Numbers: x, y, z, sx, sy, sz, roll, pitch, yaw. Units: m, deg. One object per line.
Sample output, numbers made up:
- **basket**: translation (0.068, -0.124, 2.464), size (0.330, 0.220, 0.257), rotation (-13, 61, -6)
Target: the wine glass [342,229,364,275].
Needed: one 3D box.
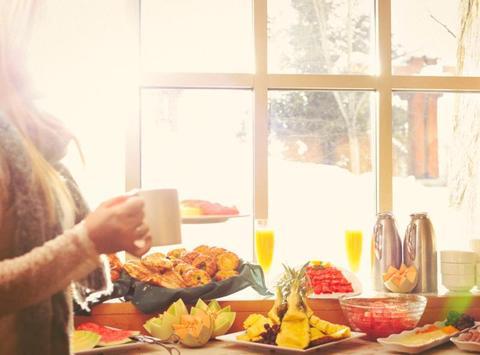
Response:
- **wine glass**: translation (0.528, 0.343, 2.038), size (0.078, 0.216, 0.078), rotation (1, 7, 13)

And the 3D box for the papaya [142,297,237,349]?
- **papaya**: translation (-0.188, 0.465, 1.551), size (0.275, 0.146, 0.297), rotation (0, -2, -17)

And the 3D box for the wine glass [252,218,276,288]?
- **wine glass**: translation (0.105, 0.305, 1.953), size (0.064, 0.231, 0.096), rotation (2, 1, -5)

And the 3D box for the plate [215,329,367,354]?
- **plate**: translation (0.179, 0.539, 1.431), size (0.512, 0.050, 0.205), rotation (1, -1, -3)

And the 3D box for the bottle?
- **bottle**: translation (0.647, 0.295, 1.771), size (0.161, 0.349, 0.207), rotation (0, 2, -12)

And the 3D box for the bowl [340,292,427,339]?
- **bowl**: translation (0.497, 0.450, 1.555), size (0.271, 0.161, 0.243), rotation (0, -5, 0)

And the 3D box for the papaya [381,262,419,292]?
- **papaya**: translation (0.622, 0.392, 1.707), size (0.103, 0.106, 0.124), rotation (-1, -1, -11)
